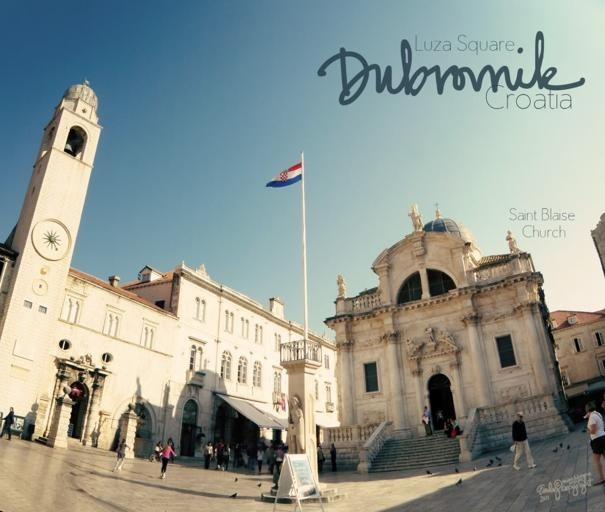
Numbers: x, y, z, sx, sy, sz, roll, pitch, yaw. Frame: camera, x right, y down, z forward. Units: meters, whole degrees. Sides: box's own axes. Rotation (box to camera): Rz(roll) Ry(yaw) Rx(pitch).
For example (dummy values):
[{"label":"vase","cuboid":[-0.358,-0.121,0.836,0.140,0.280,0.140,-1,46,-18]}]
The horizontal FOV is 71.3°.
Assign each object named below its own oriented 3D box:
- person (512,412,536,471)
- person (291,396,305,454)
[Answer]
[{"label":"person","cuboid":[7.978,6.663,15.294,0.619,2.077,0.530,-7,1,19]},{"label":"person","cuboid":[-0.199,6.615,16.686,0.575,2.092,0.307,-3,-22,0]}]
